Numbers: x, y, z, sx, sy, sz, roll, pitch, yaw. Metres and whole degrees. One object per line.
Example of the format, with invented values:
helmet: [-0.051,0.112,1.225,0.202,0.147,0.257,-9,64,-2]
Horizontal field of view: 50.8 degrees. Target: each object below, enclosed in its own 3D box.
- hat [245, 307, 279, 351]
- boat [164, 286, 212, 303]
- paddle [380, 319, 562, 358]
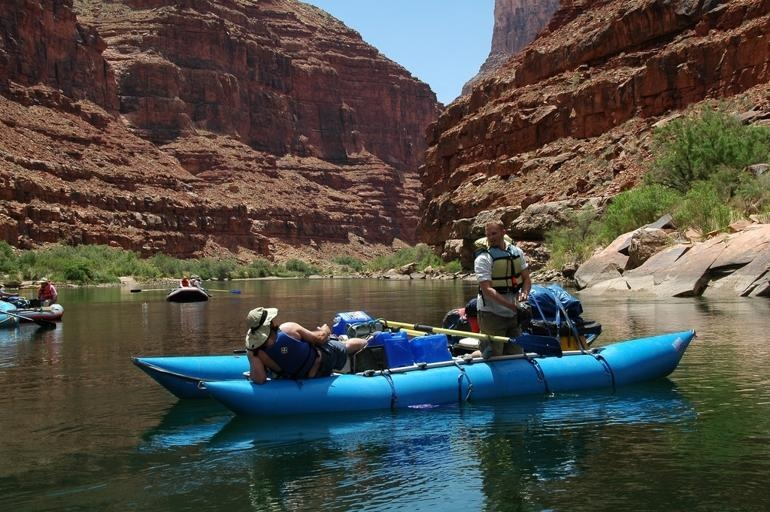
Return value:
hat: [-2.857,1.669,18.364,0.751,0.945,0.342,-8,-11,19]
boat: [-10.180,1.993,41.612,0.954,0.670,2.268,-10,-11,32]
paddle: [2.176,2.044,19.648,4.085,0.556,0.579,5,-24,5]
